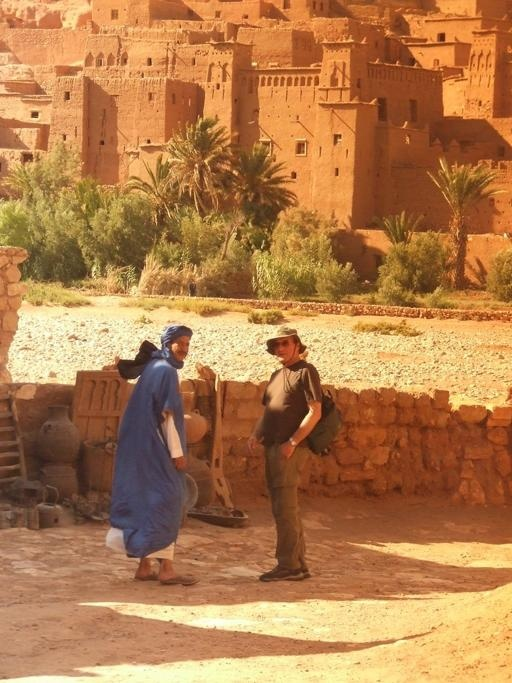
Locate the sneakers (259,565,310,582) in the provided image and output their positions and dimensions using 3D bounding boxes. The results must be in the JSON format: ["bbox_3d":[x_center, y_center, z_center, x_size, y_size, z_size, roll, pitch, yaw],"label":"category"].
[{"bbox_3d":[0.159,1.282,4.977,0.273,0.124,0.099,5,-8,-12],"label":"sneakers"}]

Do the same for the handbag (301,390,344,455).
[{"bbox_3d":[0.368,0.454,4.814,0.171,0.335,0.276,3,4,11],"label":"handbag"}]

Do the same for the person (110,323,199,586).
[{"bbox_3d":[-0.531,0.489,4.462,0.410,1.147,0.364,3,4,16],"label":"person"}]

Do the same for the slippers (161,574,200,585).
[{"bbox_3d":[-0.389,1.182,4.484,0.162,0.044,0.067,-2,-4,-1],"label":"slippers"}]

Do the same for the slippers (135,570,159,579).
[{"bbox_3d":[-0.551,1.178,4.572,0.122,0.055,0.043,-3,14,-10],"label":"slippers"}]

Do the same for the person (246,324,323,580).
[{"bbox_3d":[0.162,0.635,4.850,0.368,1.400,0.506,2,4,1],"label":"person"}]

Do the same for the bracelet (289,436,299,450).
[{"bbox_3d":[0.189,0.521,4.631,0.035,0.055,0.051,-37,17,-18],"label":"bracelet"}]
